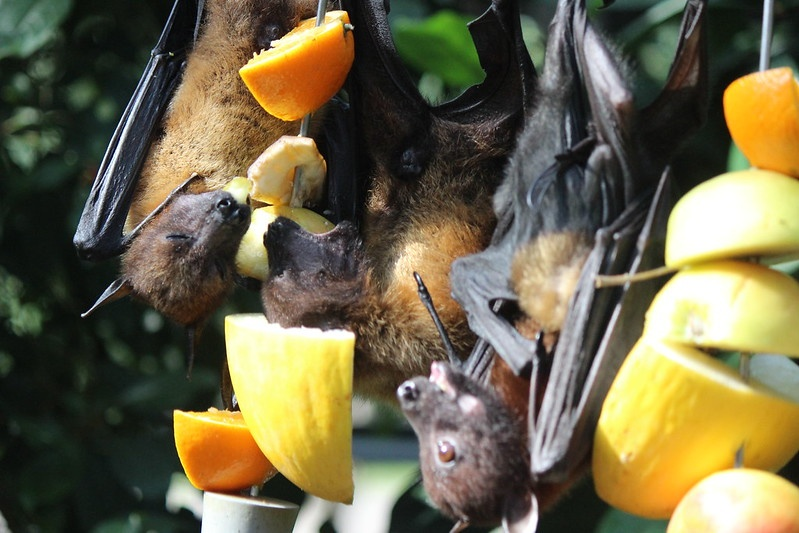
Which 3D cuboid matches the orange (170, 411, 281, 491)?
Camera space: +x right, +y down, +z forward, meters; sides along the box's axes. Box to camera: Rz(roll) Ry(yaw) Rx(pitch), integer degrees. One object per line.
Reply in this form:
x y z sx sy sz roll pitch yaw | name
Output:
-0.329 0.308 1.764 0.128 0.147 0.103 6 78 28 | orange

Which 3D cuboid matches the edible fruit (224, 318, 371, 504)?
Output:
-0.181 0.229 1.639 0.209 0.082 0.281 1 84 4 | edible fruit

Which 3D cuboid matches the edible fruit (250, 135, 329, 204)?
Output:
-0.184 -0.158 1.691 0.035 0.103 0.118 48 123 45 | edible fruit

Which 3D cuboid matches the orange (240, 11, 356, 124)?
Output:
-0.163 -0.321 1.733 0.208 0.214 0.144 -23 107 -5 | orange
